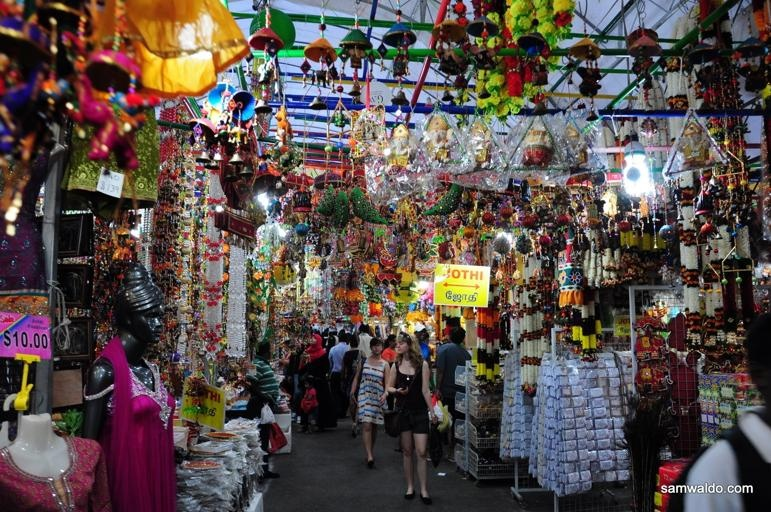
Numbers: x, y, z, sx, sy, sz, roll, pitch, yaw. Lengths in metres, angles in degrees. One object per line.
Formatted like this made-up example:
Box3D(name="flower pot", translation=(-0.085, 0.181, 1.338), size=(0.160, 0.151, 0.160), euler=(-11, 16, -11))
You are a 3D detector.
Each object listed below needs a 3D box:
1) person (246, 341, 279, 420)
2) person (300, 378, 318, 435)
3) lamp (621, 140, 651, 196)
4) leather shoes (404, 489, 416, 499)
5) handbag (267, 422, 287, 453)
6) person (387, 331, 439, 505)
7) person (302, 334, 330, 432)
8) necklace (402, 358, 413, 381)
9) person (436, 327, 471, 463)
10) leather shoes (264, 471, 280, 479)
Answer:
Box3D(name="person", translation=(-1.431, 1.418, 8.415), size=(0.346, 0.789, 0.826), euler=(1, -3, -9))
Box3D(name="person", translation=(-1.155, 2.241, 11.004), size=(0.251, 0.899, 0.834), euler=(1, -3, -5))
Box3D(name="lamp", translation=(2.254, -0.793, 6.551), size=(0.141, 0.556, 0.151), euler=(10, -16, 19))
Box3D(name="leather shoes", translation=(0.251, 2.425, 7.388), size=(0.118, 0.071, 0.176), euler=(1, -3, 0))
Box3D(name="handbag", translation=(-1.334, 2.261, 9.015), size=(0.208, 0.497, 0.745), euler=(1, -3, -7))
Box3D(name="person", translation=(0.259, 1.649, 7.638), size=(0.506, 1.666, 0.884), euler=(1, -3, -1))
Box3D(name="person", translation=(-1.167, 1.965, 11.160), size=(0.405, 1.559, 0.425), euler=(8, 10, 31))
Box3D(name="necklace", translation=(0.234, 1.187, 7.681), size=(0.102, 0.149, 0.056), euler=(-4, -9, 8))
Box3D(name="person", translation=(0.866, 1.746, 9.304), size=(0.458, 1.630, 0.506), euler=(0, -3, 4))
Box3D(name="leather shoes", translation=(-1.273, 2.435, 8.071), size=(0.115, 0.052, 0.122), euler=(4, -3, 13))
